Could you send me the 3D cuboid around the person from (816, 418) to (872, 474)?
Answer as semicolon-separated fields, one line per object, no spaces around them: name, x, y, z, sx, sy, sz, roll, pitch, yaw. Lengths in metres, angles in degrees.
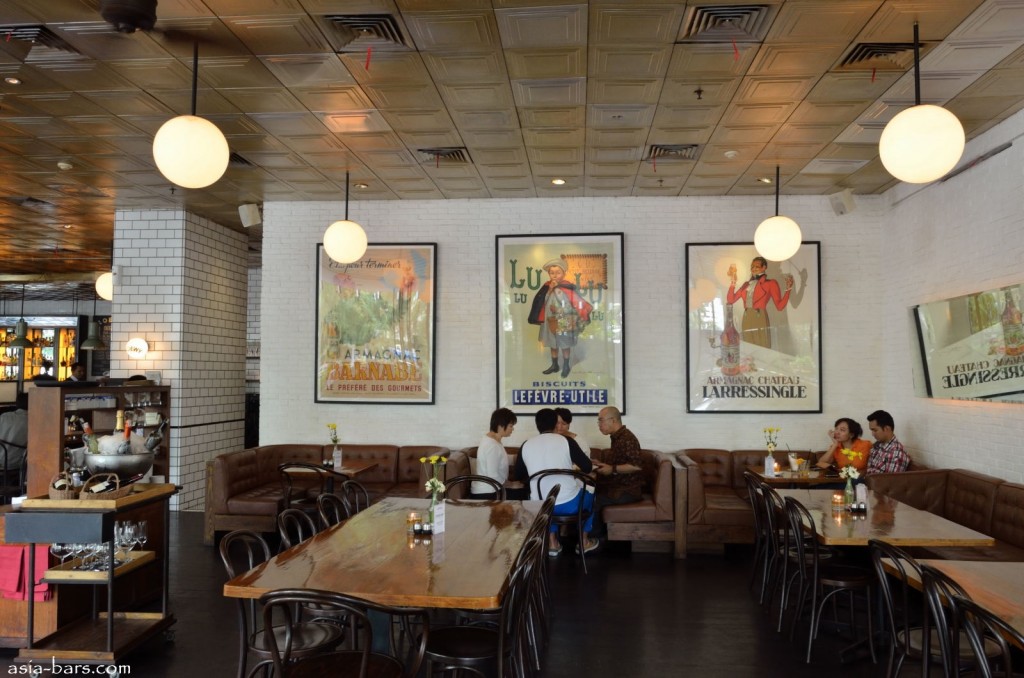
person;4.005;1.414;8.532;0.614;0.857;0.482;0;-13;36

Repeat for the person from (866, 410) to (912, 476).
person;4.445;1.248;8.400;0.458;0.749;0.839;-8;2;10

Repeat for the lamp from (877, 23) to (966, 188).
lamp;3.514;-2.014;6.052;0.572;1.348;0.873;3;6;31

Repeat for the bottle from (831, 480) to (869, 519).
bottle;3.180;1.478;6.643;0.339;0.311;0.338;-2;-1;27

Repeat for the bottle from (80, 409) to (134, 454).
bottle;-3.563;0.829;6.301;0.341;0.332;0.359;-3;5;-25

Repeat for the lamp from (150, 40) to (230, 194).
lamp;-2.776;-1.941;6.189;0.549;1.298;1.161;-3;5;-21

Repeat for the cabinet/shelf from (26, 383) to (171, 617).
cabinet/shelf;-3.863;1.529;6.590;0.663;2.035;2.349;-1;-1;-9

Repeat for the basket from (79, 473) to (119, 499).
basket;-3.524;1.270;6.154;0.326;0.277;0.187;2;0;-15

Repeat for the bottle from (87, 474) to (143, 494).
bottle;-3.444;1.309;6.173;0.309;0.175;0.327;-12;-5;-1
